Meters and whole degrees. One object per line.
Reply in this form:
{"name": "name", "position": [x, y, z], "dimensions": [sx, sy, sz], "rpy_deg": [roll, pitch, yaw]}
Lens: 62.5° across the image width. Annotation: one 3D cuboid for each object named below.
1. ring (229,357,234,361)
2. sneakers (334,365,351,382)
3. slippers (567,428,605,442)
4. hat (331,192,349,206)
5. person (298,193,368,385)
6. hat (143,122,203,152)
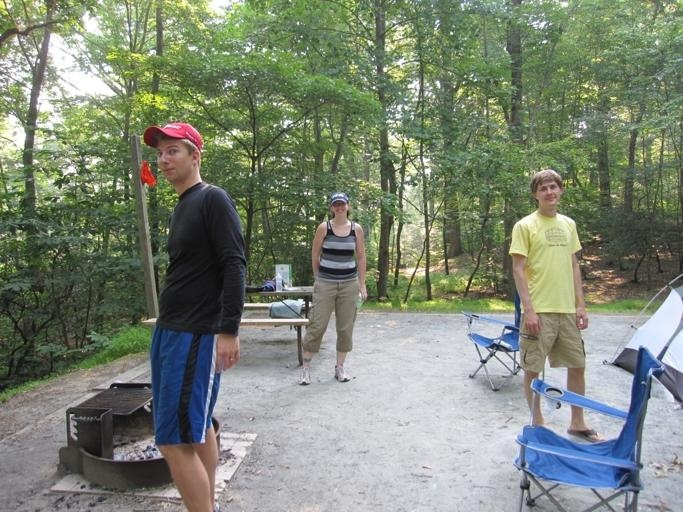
{"name": "ring", "position": [-1.115, 1.046, 5.711], "dimensions": [0.047, 0.029, 0.012], "rpy_deg": [8, -2, 13]}
{"name": "sneakers", "position": [0.006, 1.766, 8.382], "dimensions": [0.139, 0.120, 0.317], "rpy_deg": [-1, -8, -12]}
{"name": "slippers", "position": [2.972, 2.178, 6.848], "dimensions": [0.286, 0.083, 0.150], "rpy_deg": [-2, -1, 21]}
{"name": "hat", "position": [-0.024, -0.836, 8.212], "dimensions": [0.241, 0.195, 0.249], "rpy_deg": [1, 1, 5]}
{"name": "person", "position": [-0.131, 0.475, 8.364], "dimensions": [0.986, 2.811, 0.513], "rpy_deg": [0, 3, -6]}
{"name": "hat", "position": [-1.779, -1.260, 5.908], "dimensions": [0.501, 0.265, 0.315], "rpy_deg": [28, -6, -37]}
